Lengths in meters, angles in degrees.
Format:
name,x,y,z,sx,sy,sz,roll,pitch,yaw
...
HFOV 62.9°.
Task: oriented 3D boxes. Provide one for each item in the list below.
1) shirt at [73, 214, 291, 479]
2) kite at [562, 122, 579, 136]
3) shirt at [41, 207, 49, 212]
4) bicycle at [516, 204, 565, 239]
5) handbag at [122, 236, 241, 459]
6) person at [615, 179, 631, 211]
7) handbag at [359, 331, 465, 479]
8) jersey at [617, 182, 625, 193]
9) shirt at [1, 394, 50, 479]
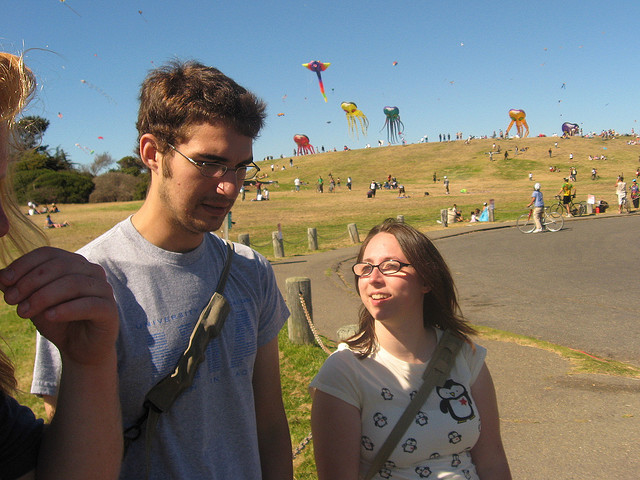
name,x,y,z,sx,sy,sz,roll,pitch,yaw
shirt,-0.617,0.514,2.347,1.161,1.213,0.590,6,-10,-44
kite,55.380,-24.397,115.930,2.842,2.465,4.653,0,7,23
shirt,-21.520,-2.325,41.004,0.548,0.618,0.325,0,-3,39
bicycle,8.694,-0.862,20.785,1.716,1.141,0.763,-3,5,26
handbag,-0.576,0.441,2.500,0.065,1.197,0.249,-23,-58,42
person,14.463,-2.108,25.068,0.529,1.512,2.386,2,8,31
handbag,0.551,0.921,2.954,0.234,0.659,0.724,4,9,43
jersey,13.942,-2.401,24.290,0.286,0.464,0.596,1,8,30
shirt,-1.020,0.652,1.808,0.153,0.277,0.153,-6,8,-30
